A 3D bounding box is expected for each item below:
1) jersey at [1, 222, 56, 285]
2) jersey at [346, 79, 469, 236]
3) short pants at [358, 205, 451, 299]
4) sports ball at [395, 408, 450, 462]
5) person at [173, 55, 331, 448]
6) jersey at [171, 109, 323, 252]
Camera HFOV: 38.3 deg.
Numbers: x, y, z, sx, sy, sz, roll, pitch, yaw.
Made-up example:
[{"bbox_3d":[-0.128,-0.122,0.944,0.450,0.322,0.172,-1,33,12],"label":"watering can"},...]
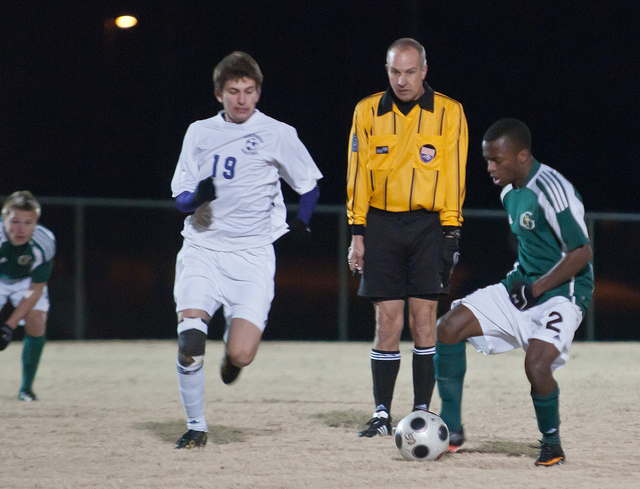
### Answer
[{"bbox_3d":[-2.793,0.098,8.755,0.492,0.519,0.277,2,-1,-22],"label":"jersey"},{"bbox_3d":[0.741,-0.697,7.953,0.969,1.409,0.502,2,-4,10],"label":"jersey"},{"bbox_3d":[0.712,0.075,7.818,0.735,0.774,0.156,1,-1,-1],"label":"short pants"},{"bbox_3d":[0.784,1.486,7.177,0.351,0.438,0.383,-2,-4,0],"label":"sports ball"},{"bbox_3d":[-0.668,0.040,7.528,1.084,2.386,0.493,2,-1,-15],"label":"person"},{"bbox_3d":[-0.625,-0.540,7.732,1.228,1.180,0.598,1,6,0],"label":"jersey"}]
